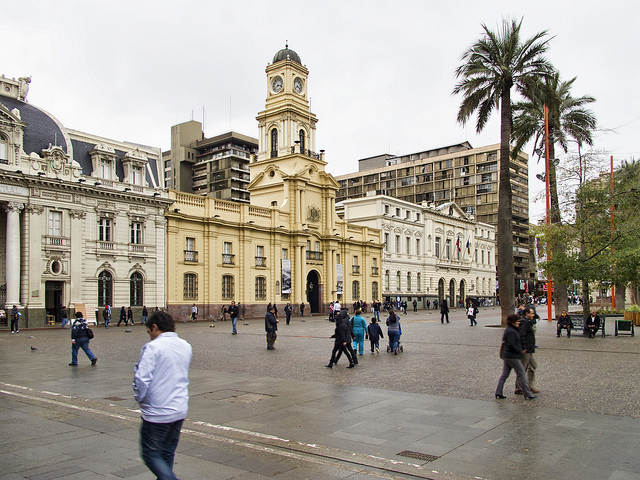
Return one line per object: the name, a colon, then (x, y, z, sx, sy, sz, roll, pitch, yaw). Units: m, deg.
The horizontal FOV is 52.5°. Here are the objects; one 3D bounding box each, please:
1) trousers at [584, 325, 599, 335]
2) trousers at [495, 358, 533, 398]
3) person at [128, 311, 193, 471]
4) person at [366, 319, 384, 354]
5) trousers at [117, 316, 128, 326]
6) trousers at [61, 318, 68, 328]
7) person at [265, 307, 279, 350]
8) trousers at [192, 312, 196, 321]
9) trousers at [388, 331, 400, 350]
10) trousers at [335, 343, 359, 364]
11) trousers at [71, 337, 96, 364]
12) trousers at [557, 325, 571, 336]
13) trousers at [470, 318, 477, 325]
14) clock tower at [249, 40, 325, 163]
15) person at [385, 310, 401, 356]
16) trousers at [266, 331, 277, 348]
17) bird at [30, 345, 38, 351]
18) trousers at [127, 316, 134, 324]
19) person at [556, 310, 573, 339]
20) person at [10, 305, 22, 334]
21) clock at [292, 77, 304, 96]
trousers: (12.438, 4.122, 29.922, 0.292, 0.441, 0.775, 1, -9, -17)
trousers: (4.894, 3.490, 16.507, 0.910, 0.981, 0.743, -4, -9, 17)
person: (-2.646, 2.504, 10.837, 0.926, 2.626, 0.402, 1, -9, -17)
person: (2.084, 3.691, 24.890, 0.551, 1.298, 1.177, -2, -9, 4)
trousers: (-13.013, 5.262, 42.519, 0.555, 0.517, 0.250, 7, -21, -24)
trousers: (-15.680, 5.034, 39.672, 0.279, 0.543, 0.747, 1, -9, -15)
person: (-1.955, 3.554, 25.589, 0.374, 1.486, 0.735, 0, -8, -5)
trousers: (-9.298, 5.537, 47.318, 0.373, 0.662, 0.202, 4, -18, -36)
trousers: (2.793, 3.769, 24.454, 0.377, 0.677, 0.401, -2, -8, 6)
trousers: (0.839, 3.780, 21.613, 0.897, 0.881, 0.402, 3, 2, 12)
trousers: (-7.874, 3.656, 21.494, 0.662, 0.850, 0.887, 2, -9, -22)
trousers: (11.563, 4.247, 30.800, 0.681, 0.656, 0.400, -6, -19, 35)
trousers: (9.563, 5.062, 40.540, 0.268, 0.383, 0.500, -4, -9, 16)
clock tower: (-3.164, -12.641, 60.674, 5.148, 10.522, 3.264, 0, -8, -5)
person: (2.751, 3.479, 24.447, 0.474, 1.651, 1.095, -2, -8, 6)
trousers: (-1.951, 3.929, 25.700, 0.322, 0.631, 0.704, 0, -9, -7)
bird: (-11.334, 4.285, 25.617, 0.119, 0.189, 0.370, -8, -8, 9)
trousers: (-12.669, 5.305, 43.180, 0.416, 0.404, 0.193, 3, -13, -11)
person: (11.662, 4.028, 31.021, 0.697, 1.183, 1.287, -5, -9, 26)
person: (-17.323, 4.412, 36.781, 0.537, 1.616, 2.639, 3, -10, -25)
clock: (-2.199, -14.500, 61.030, 0.136, 1.841, 1.800, -12, -17, 30)
